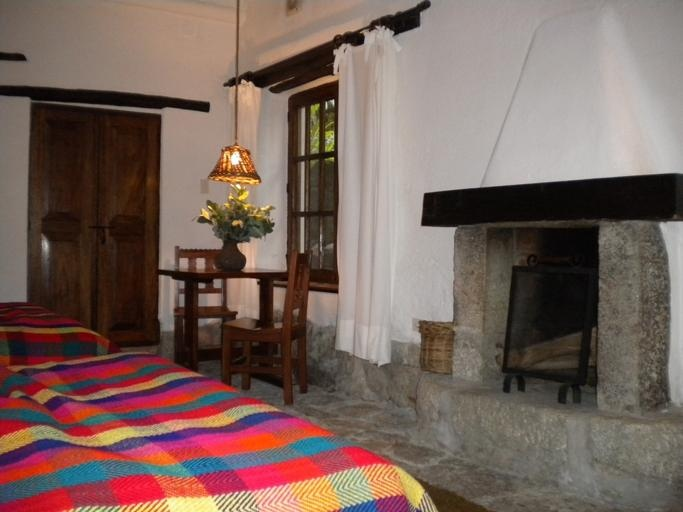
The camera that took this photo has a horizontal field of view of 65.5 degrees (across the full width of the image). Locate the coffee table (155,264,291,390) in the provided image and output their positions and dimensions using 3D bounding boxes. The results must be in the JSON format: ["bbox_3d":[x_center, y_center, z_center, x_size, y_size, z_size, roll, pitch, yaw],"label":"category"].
[{"bbox_3d":[-0.997,0.444,4.381,0.906,0.895,0.897,0,3,-34],"label":"coffee table"}]

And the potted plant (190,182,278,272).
[{"bbox_3d":[-0.736,-0.157,4.519,0.799,0.884,0.731,1,-7,6],"label":"potted plant"}]
